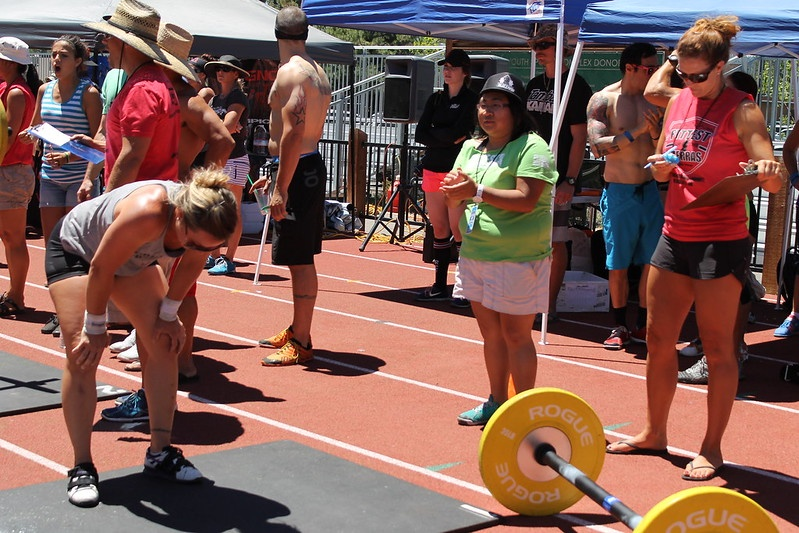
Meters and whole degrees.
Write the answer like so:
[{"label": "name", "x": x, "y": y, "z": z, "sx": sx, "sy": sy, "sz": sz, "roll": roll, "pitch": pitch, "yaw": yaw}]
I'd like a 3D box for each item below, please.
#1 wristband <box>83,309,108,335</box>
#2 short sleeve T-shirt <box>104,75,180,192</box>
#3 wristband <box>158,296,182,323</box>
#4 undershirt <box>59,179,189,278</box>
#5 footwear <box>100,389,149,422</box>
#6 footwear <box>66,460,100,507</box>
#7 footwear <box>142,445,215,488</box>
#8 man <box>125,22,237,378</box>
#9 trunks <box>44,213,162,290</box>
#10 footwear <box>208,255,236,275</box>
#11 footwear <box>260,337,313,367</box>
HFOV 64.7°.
[{"label": "wristband", "x": -1.710, "y": 0.322, "z": 3.574, "sx": 0.121, "sy": 0.120, "sz": 0.126, "roll": 3, "pitch": -4, "yaw": 5}, {"label": "short sleeve T-shirt", "x": -2.009, "y": -1.044, "z": 4.950, "sx": 0.554, "sy": 0.974, "sz": 1.021, "roll": 3, "pitch": 18, "yaw": -12}, {"label": "wristband", "x": -1.363, "y": 0.256, "z": 3.830, "sx": 0.126, "sy": 0.139, "sz": 0.136, "roll": 4, "pitch": -5, "yaw": 4}, {"label": "undershirt", "x": -1.634, "y": -0.234, "z": 3.693, "sx": 0.994, "sy": 0.553, "sz": 0.282, "roll": 10, "pitch": 13, "yaw": 30}, {"label": "footwear", "x": -2.064, "y": 1.091, "z": 4.950, "sx": 0.478, "sy": 0.209, "sz": 0.162, "roll": 0, "pitch": 6, "yaw": -27}, {"label": "footwear", "x": -1.838, "y": 1.254, "z": 3.672, "sx": 0.173, "sy": 0.190, "sz": 0.253, "roll": -2, "pitch": 12, "yaw": -26}, {"label": "footwear", "x": -1.392, "y": 1.239, "z": 3.994, "sx": 0.458, "sy": 0.197, "sz": 0.200, "roll": 7, "pitch": 2, "yaw": 6}, {"label": "man", "x": -1.834, "y": -0.511, "z": 5.091, "sx": 1.116, "sy": 2.888, "sz": 0.955, "roll": -4, "pitch": -6, "yaw": -23}, {"label": "trunks", "x": -1.883, "y": -0.140, "z": 3.912, "sx": 0.536, "sy": 0.505, "sz": 0.384, "roll": 1, "pitch": 2, "yaw": -13}, {"label": "footwear", "x": -2.697, "y": -0.001, "z": 9.751, "sx": 0.206, "sy": 0.230, "sz": 0.539, "roll": 1, "pitch": -3, "yaw": 26}, {"label": "footwear", "x": -1.131, "y": 0.839, "z": 6.252, "sx": 0.512, "sy": 0.219, "sz": 0.200, "roll": -2, "pitch": 7, "yaw": -32}]
